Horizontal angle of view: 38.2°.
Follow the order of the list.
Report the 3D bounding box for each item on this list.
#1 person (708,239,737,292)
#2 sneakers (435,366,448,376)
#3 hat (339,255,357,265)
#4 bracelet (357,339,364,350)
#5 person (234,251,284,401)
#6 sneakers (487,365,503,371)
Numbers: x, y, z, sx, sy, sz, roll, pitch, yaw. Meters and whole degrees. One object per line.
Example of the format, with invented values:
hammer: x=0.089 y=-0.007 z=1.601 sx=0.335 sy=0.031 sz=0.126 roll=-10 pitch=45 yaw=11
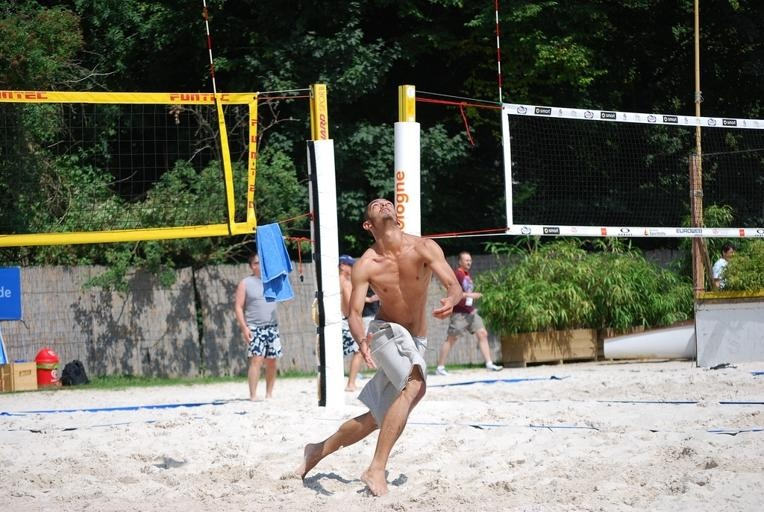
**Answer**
person: x=6.342 y=0.204 z=20.480 sx=0.384 sy=0.774 sz=1.102 roll=-2 pitch=3 yaw=18
sneakers: x=1.105 y=2.135 z=20.401 sx=0.218 sy=0.176 sz=0.123 roll=5 pitch=6 yaw=0
hat: x=-0.565 y=0.089 z=18.678 sx=0.166 sy=0.099 sz=0.267 roll=9 pitch=4 yaw=43
bracelet: x=-0.267 y=1.160 z=14.388 sx=0.079 sy=0.133 sz=0.119 roll=6 pitch=10 yaw=34
person: x=-2.028 y=1.153 z=17.938 sx=0.662 sy=2.327 sz=0.608 roll=-3 pitch=3 yaw=-24
sneakers: x=2.078 y=2.065 z=20.468 sx=0.210 sy=0.105 sz=0.143 roll=-1 pitch=0 yaw=28
